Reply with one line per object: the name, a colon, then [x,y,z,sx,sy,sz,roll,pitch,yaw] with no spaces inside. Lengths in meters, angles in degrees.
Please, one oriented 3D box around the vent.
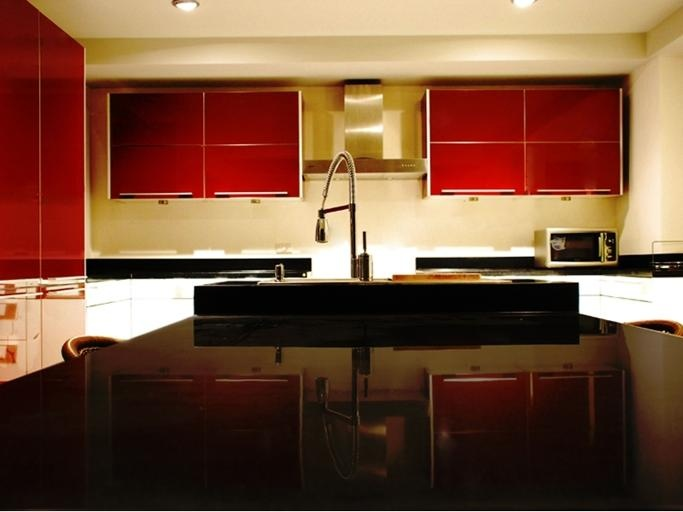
vent: [0.179,-1.012,5.363,1.026,0.759,0.519,0,-2,-2]
